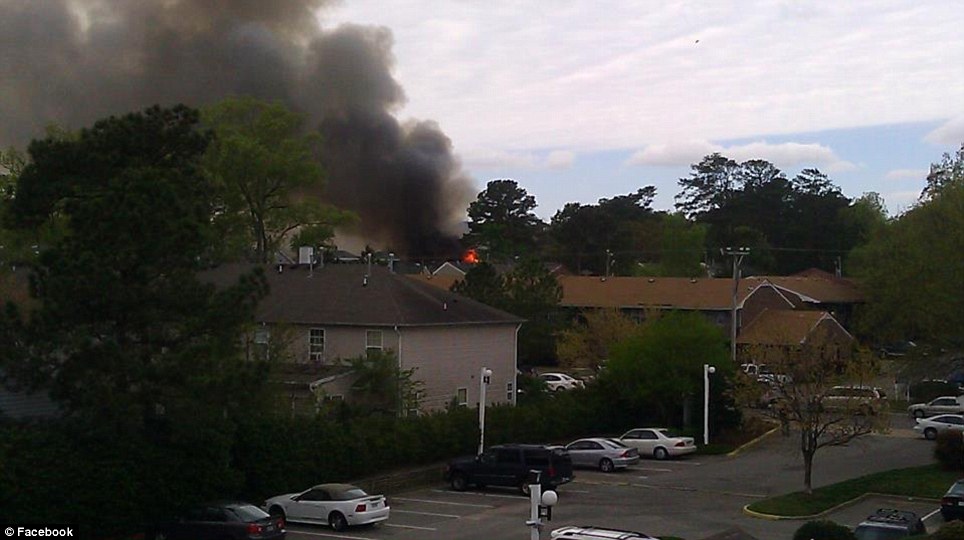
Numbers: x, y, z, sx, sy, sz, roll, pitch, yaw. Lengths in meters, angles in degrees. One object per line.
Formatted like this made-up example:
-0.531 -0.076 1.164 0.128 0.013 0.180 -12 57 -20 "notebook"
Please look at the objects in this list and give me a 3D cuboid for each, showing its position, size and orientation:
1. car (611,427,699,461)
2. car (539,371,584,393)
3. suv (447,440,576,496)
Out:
11.730 11.722 93.835 3.697 2.291 6.900 2 0 22 "car"
6.348 8.955 111.773 3.144 0.971 1.423 6 6 29 "car"
1.690 12.148 86.242 7.926 2.879 3.475 -1 -1 24 "suv"
